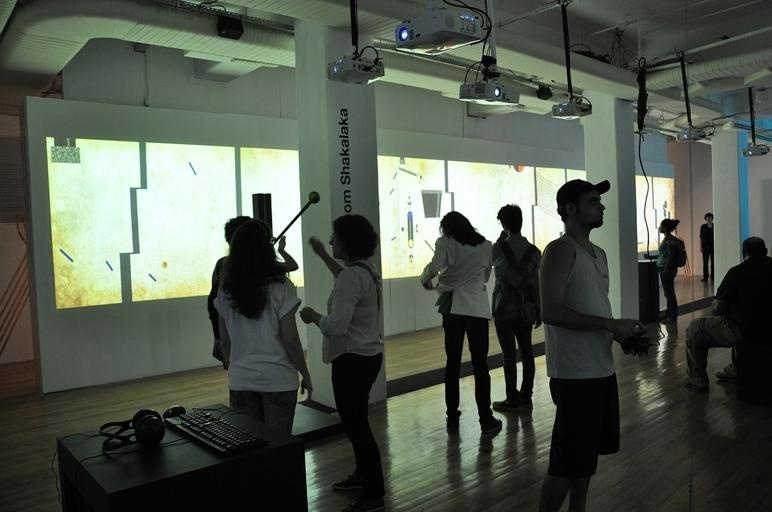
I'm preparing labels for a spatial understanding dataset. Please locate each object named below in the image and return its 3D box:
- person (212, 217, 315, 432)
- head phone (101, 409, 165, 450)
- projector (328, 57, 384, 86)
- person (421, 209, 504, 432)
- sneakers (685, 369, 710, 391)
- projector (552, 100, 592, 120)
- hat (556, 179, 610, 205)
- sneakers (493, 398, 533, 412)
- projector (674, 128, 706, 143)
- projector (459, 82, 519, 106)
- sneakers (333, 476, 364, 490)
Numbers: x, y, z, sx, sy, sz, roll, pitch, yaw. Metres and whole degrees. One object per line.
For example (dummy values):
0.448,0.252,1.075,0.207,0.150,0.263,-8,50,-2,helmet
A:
-1.050,0.578,5.106,0.773,1.752,0.351,-2,4,-9,person
-1.884,1.307,4.519,0.395,0.203,0.328,-12,12,-16,head phone
-0.294,-1.907,6.351,0.417,0.217,0.312,-5,5,-43,projector
0.851,0.722,6.781,0.864,2.438,0.486,-1,4,3,person
3.916,1.564,7.682,0.155,0.309,0.309,-2,4,-6,sneakers
2.514,-2.008,8.388,0.475,0.188,0.344,-3,-2,43,projector
1.638,-0.563,5.062,0.355,0.196,0.227,-29,0,11,hat
1.515,1.785,7.274,0.349,0.150,0.207,2,1,25,sneakers
5.261,-2.059,10.254,0.586,0.286,0.436,-7,5,-34,projector
1.175,-1.863,6.845,0.693,0.252,0.276,-3,5,-24,projector
-0.344,2.169,5.840,0.326,0.153,0.119,4,-4,-4,sneakers
